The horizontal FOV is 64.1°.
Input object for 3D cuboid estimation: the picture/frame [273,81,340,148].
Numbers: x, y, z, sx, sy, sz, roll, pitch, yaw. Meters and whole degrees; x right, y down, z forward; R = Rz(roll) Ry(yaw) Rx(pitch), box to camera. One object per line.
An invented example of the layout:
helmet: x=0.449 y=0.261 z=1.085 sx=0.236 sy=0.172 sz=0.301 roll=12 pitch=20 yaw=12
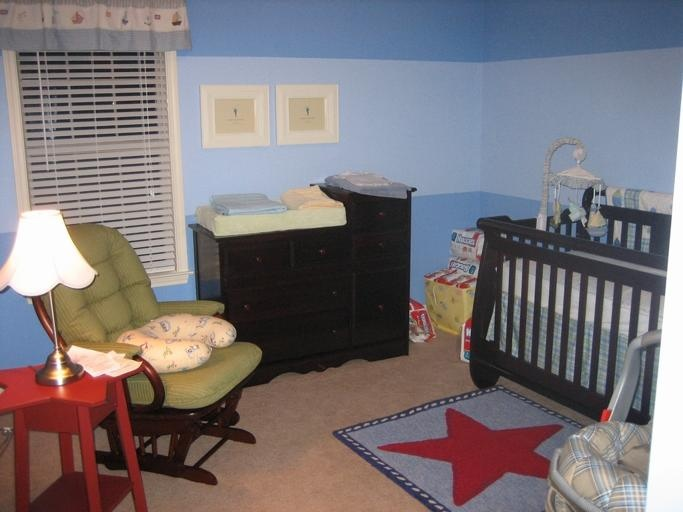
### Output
picture/frame: x=-0.268 y=-1.111 z=4.272 sx=0.570 sy=0.440 sz=0.041 roll=7 pitch=16 yaw=29

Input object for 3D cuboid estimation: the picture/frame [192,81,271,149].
picture/frame: x=-0.843 y=-1.051 z=4.006 sx=0.563 sy=0.454 sz=0.039 roll=-3 pitch=11 yaw=-22

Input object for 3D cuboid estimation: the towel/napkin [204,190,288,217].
towel/napkin: x=-0.677 y=-0.373 z=3.829 sx=0.477 sy=0.096 sz=0.520 roll=-7 pitch=16 yaw=-20

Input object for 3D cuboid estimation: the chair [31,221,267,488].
chair: x=-1.025 y=0.486 z=2.966 sx=1.112 sy=1.147 sz=0.903 roll=4 pitch=13 yaw=13

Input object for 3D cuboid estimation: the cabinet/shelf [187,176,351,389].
cabinet/shelf: x=-0.487 y=0.334 z=4.028 sx=0.989 sy=1.051 sz=0.653 roll=-7 pitch=6 yaw=-28
